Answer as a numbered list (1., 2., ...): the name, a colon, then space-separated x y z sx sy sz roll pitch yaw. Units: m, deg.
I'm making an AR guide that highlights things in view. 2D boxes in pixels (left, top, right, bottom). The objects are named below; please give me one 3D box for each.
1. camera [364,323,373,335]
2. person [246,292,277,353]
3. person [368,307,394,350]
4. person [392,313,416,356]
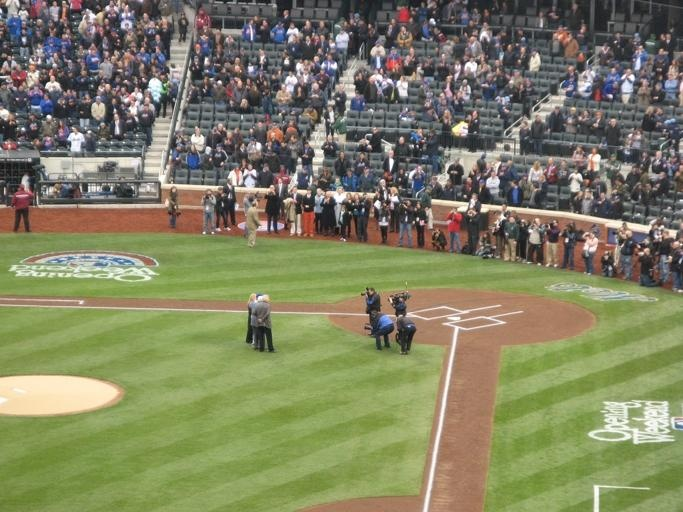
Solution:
1. camera: 0.997 2.684 53.654 0.315 0.325 0.389 4 13 7
2. person: -2.777 2.289 52.193 0.999 2.086 1.280 0 14 -4
3. person: 1.453 2.605 52.955 0.813 1.286 1.411 0 13 -1
4. person: 2.266 2.746 52.365 0.654 1.335 1.033 1 14 1
